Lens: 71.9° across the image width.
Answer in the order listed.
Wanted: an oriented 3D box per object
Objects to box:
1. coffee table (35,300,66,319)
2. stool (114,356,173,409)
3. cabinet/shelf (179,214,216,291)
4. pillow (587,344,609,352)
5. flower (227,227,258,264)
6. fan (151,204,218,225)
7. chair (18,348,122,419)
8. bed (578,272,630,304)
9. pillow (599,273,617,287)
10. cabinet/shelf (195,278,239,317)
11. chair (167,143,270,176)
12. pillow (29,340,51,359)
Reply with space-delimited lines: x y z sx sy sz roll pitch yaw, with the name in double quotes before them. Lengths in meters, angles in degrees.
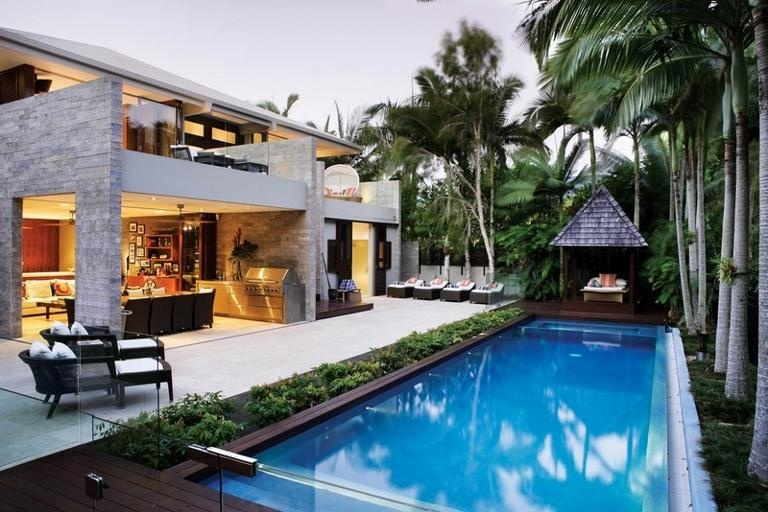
"coffee table" -9.649 1.544 15.373 0.740 0.383 0.479 -1 -3 34
"stool" -3.756 2.102 8.967 0.648 0.435 0.905 -6 1 -3
"cabinet/shelf" -6.468 -0.178 17.868 0.797 2.768 0.558 4 17 -10
"pillow" 5.475 2.335 13.664 0.480 0.092 0.950 -2 -3 21
"flower" -4.788 -0.373 17.693 0.636 1.247 1.182 1 -3 -43
"fan" -6.561 -1.284 17.375 2.060 0.460 2.698 0 -3 -15
"chair" -4.458 1.767 7.641 1.107 0.717 0.862 -1 1 -31
"bed" 7.621 1.090 18.291 1.412 0.960 1.434 -2 -3 26
"pillow" 7.807 0.870 18.633 0.557 0.559 0.419 0 -4 4
"cabinet/shelf" -5.307 1.484 16.799 0.971 1.132 1.776 -22 -21 37
"chair" -4.808 -2.753 15.377 1.456 0.856 3.141 -2 -3 16
"pillow" -5.080 1.406 7.900 0.258 0.105 0.259 18 -6 1
